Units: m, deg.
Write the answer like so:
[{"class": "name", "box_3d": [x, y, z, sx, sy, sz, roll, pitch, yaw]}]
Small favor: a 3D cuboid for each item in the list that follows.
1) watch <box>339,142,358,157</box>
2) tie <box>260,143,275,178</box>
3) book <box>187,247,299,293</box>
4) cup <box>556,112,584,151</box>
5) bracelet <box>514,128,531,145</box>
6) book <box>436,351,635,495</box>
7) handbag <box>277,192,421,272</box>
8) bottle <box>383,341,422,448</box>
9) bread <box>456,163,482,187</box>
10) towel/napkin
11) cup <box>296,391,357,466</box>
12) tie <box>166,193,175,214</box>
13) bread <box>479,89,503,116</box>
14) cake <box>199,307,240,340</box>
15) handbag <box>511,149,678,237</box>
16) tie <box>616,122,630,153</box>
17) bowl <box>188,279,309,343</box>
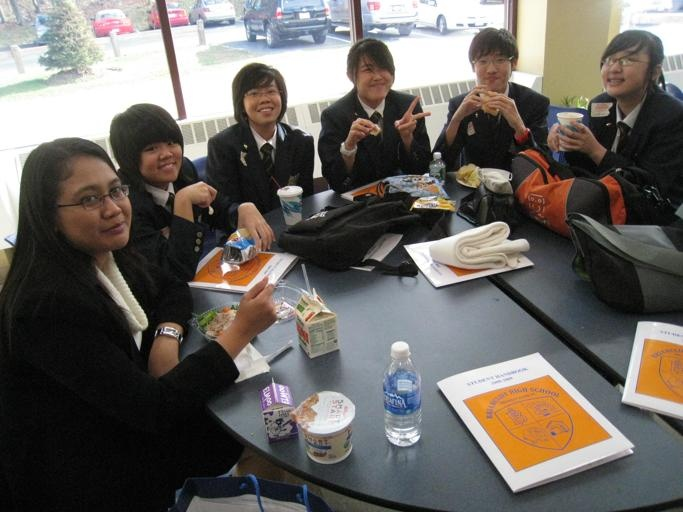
[{"class": "watch", "box_3d": [0.041, -0.563, 2.630, 0.086, 0.058, 0.065, -18, 43, -26]}, {"class": "tie", "box_3d": [-0.394, -0.516, 2.632, 0.047, 0.210, 0.051, 0, 18, 26]}, {"class": "book", "box_3d": [-0.396, 0.064, 1.971, 0.265, 0.036, 0.200, 13, 39, 20]}, {"class": "cup", "box_3d": [1.072, -0.602, 2.320, 0.107, 0.084, 0.105, -5, 25, 2]}, {"class": "bracelet", "box_3d": [0.945, -0.625, 2.601, 0.086, 0.057, 0.066, -19, 4, -3]}, {"class": "book", "box_3d": [0.512, 0.441, 1.320, 0.337, 0.083, 0.364, -18, 30, -17]}, {"class": "handbag", "box_3d": [0.064, -0.131, 2.045, 0.441, 0.131, 0.335, -34, 29, -32]}, {"class": "bottle", "box_3d": [0.158, 0.346, 1.316, 0.106, 0.247, 0.207, -4, 29, 9]}, {"class": "bread", "box_3d": [0.651, -0.410, 2.513, 0.121, 0.049, 0.148, 21, 37, 37]}, {"class": "towel/napkin", "box_3d": [0.532, -0.075, 1.875, 0.257, 0.129, 0.214, -18, 21, -21]}, {"class": "cup", "box_3d": [-0.049, 0.475, 1.345, 0.155, 0.128, 0.157, -2, 30, 1]}, {"class": "tie", "box_3d": [-0.769, -0.232, 2.230, 0.032, 0.088, 0.065, -8, -12, 3]}, {"class": "bread", "box_3d": [0.804, -0.825, 2.666, 0.056, 0.147, 0.111, -1, 8, -44]}, {"class": "cake", "box_3d": [-0.407, 0.223, 1.663, 0.115, 0.040, 0.117, -2, 35, 28]}, {"class": "handbag", "box_3d": [1.067, -0.294, 2.042, 0.494, 0.213, 0.384, -5, 21, -17]}, {"class": "tie", "box_3d": [1.459, -0.619, 2.562, 0.046, 0.131, 0.093, 8, -6, -2]}, {"class": "bowl", "box_3d": [-0.317, 0.187, 1.713, 0.282, 0.053, 0.193, -27, 32, -24]}]
